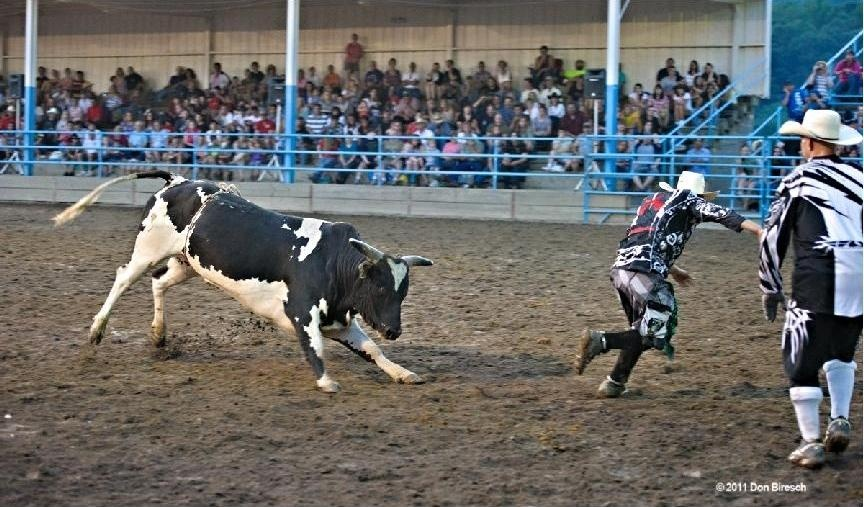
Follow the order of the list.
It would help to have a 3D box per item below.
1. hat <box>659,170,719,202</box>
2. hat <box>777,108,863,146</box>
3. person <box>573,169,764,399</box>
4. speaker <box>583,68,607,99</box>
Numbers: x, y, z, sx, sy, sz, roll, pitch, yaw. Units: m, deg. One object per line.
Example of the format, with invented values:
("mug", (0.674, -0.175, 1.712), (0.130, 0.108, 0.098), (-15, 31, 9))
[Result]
("hat", (2.790, -0.809, 11.840), (0.858, 0.192, 0.494), (3, 3, 4))
("hat", (3.836, -1.338, 10.941), (0.609, 0.164, 0.587), (-8, 17, -35))
("person", (2.379, 0.426, 11.753), (1.627, 2.427, 0.616), (-1, 10, 4))
("speaker", (3.497, -3.813, 23.206), (0.365, 0.672, 0.669), (-10, 12, -44))
